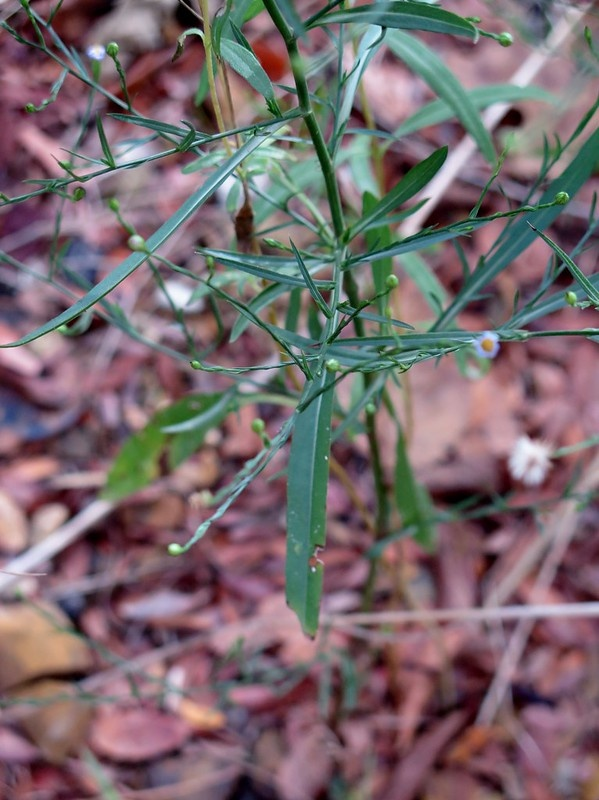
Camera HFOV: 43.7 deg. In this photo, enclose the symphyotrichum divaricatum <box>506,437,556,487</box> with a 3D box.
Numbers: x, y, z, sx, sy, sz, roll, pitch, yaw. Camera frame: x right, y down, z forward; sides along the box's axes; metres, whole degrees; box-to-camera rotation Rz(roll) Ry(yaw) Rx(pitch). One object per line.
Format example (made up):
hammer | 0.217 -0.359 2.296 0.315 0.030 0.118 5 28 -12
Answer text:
symphyotrichum divaricatum | 0.223 0.059 0.712 0.044 0.041 0.023 4 -13 37
